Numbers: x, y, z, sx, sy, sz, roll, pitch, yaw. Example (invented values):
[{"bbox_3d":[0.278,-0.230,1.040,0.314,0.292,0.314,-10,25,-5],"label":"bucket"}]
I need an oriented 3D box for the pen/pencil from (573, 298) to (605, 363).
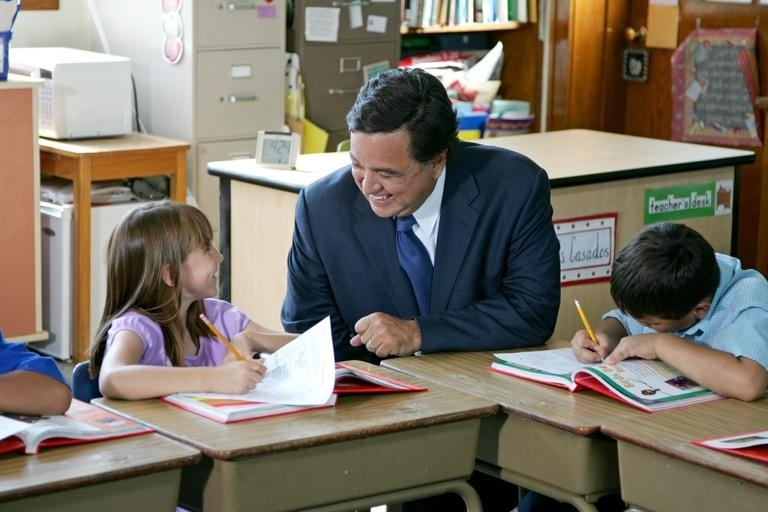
[{"bbox_3d":[0.648,0.233,2.154,0.020,0.259,0.021,-24,18,6],"label":"pen/pencil"}]

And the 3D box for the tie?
[{"bbox_3d":[0.092,0.023,1.975,0.089,0.304,0.078,-9,15,7],"label":"tie"}]

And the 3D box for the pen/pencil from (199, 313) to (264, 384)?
[{"bbox_3d":[-0.398,0.241,1.736,0.027,0.213,0.027,-6,48,24],"label":"pen/pencil"}]
